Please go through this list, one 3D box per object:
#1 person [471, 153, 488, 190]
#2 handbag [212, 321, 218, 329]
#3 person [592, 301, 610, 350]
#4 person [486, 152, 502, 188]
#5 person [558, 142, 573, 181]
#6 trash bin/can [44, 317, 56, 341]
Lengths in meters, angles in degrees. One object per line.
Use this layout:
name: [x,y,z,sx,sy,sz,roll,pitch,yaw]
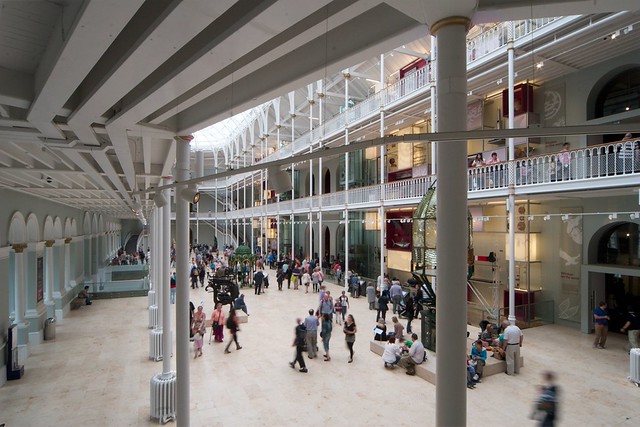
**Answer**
person: [5.892,-1.536,16.725,0.506,1.476,1.515,-2,-4,20]
handbag: [-3.471,3.738,14.832,0.193,0.263,0.255,3,-11,-5]
person: [8.517,3.438,13.665,0.402,1.536,1.296,-3,-4,31]
person: [6.151,-1.506,15.860,0.417,1.257,0.812,-2,-4,21]
person: [7.605,-1.473,13.993,0.371,0.908,0.305,-4,-4,37]
trash bin/can: [-9.232,3.989,15.294,0.355,0.714,0.283,1,-4,-33]
